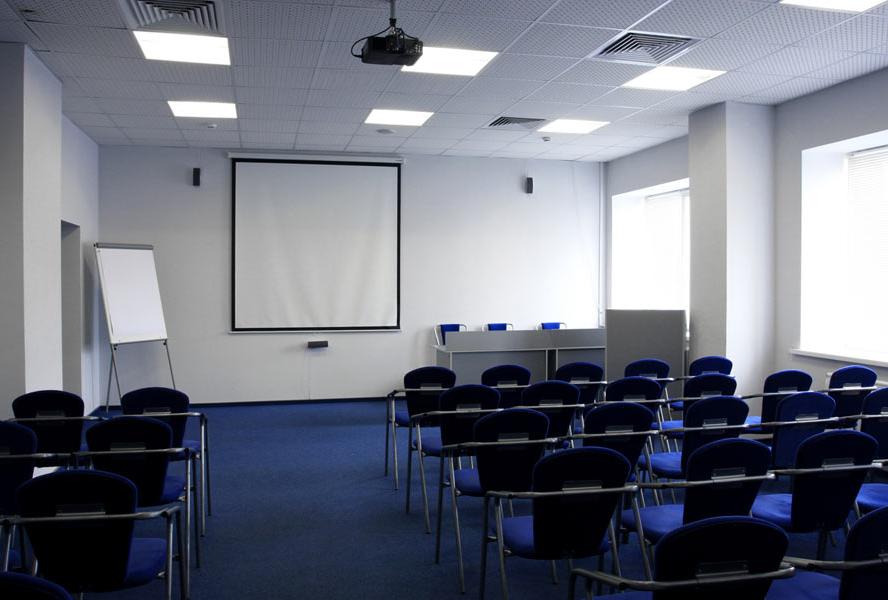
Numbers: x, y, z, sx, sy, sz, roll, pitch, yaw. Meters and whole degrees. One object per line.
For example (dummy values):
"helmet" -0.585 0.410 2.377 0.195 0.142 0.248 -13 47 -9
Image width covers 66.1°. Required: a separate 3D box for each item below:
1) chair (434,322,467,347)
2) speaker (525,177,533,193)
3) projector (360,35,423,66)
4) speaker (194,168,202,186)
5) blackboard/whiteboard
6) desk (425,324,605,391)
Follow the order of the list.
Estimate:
"chair" 0.096 0.603 11.683 0.443 0.516 0.362 1 -4 -14
"speaker" 1.527 -2.040 12.270 0.151 0.293 0.046 -2 6 -10
"projector" -0.467 -2.212 6.065 0.512 0.235 0.258 -2 6 -8
"speaker" -3.995 -1.990 11.078 0.147 0.281 0.069 -3 6 -19
"blackboard/whiteboard" -4.663 -0.095 10.250 0.383 1.480 1.014 2 7 30
"desk" 1.296 1.144 10.724 3.254 1.262 0.922 0 -12 -32
